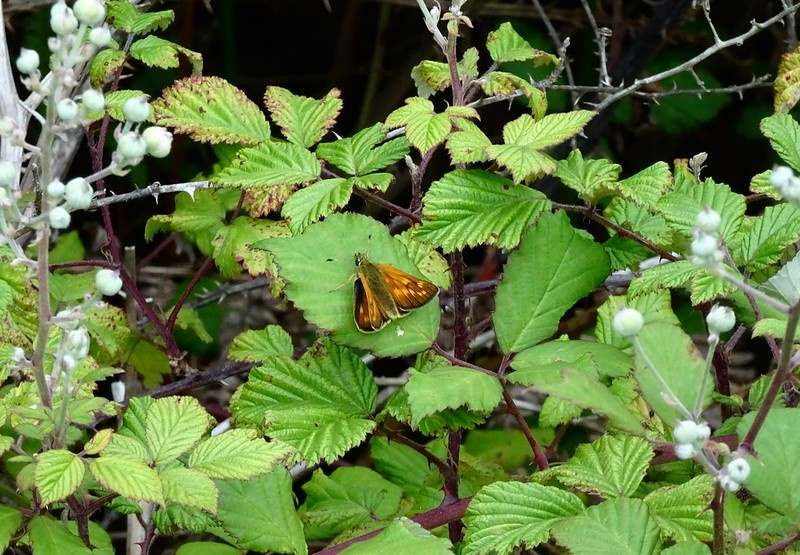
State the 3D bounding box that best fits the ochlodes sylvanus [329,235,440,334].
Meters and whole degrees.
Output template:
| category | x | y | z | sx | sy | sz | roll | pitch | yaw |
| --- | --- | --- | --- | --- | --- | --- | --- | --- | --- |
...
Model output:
| category | x | y | z | sx | sy | sz | roll | pitch | yaw |
| --- | --- | --- | --- | --- | --- | --- | --- | --- | --- |
| ochlodes sylvanus | -0.077 | 0.043 | 2.674 | 0.245 | 0.088 | 0.325 | 48 | 53 | 9 |
